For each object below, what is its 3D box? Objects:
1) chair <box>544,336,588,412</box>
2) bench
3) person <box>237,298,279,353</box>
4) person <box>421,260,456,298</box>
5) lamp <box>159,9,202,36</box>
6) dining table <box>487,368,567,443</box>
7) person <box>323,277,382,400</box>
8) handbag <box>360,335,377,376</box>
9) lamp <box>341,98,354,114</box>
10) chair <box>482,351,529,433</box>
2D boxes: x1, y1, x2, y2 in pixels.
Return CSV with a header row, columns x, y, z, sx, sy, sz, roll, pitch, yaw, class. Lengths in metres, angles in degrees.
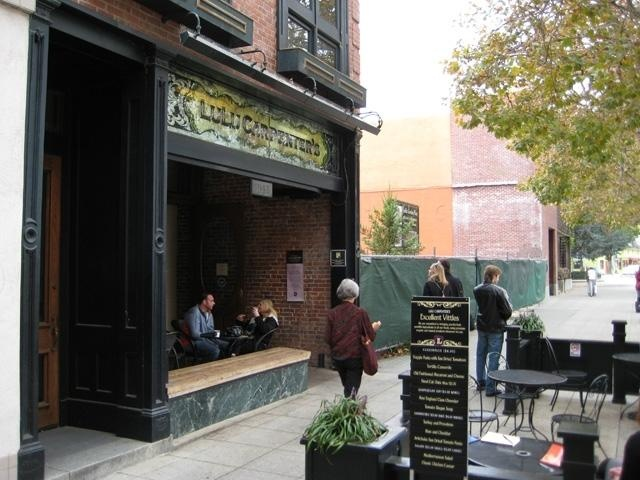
x,y,z,sx,sy,sz,roll,pitch,yaw,class
4.049,2.154,9.701,0.609,1.183,0.554,-1,-5,11,chair
-1.440,2.468,9.850,0.507,0.870,3.279,2,3,32,bench
-1.267,1.957,12.177,0.585,1.493,0.572,4,11,-39,person
2.333,0.774,11.610,0.547,0.609,1.287,1,3,12,person
-2.031,-3.159,8.712,0.541,0.314,0.502,1,3,-4,lamp
2.880,2.333,8.213,0.932,0.785,0.954,1,-6,8,dining table
0.464,1.429,8.548,0.754,1.716,0.561,1,2,0,person
0.719,1.702,8.652,0.202,0.682,0.656,1,2,4,handbag
0.591,-2.946,12.860,0.212,0.092,0.333,-3,-9,13,lamp
2.743,2.258,8.677,0.655,0.887,0.634,-12,-21,41,chair
